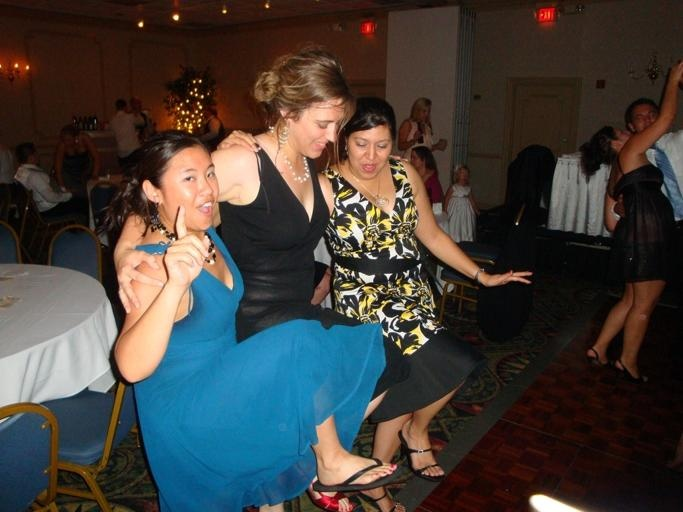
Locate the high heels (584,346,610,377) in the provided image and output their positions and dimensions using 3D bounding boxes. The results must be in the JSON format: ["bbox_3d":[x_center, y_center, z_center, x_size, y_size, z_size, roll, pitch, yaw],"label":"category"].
[{"bbox_3d":[1.950,0.790,3.824,0.256,0.122,0.086,30,-5,-32],"label":"high heels"}]

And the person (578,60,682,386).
[{"bbox_3d":[2.382,-0.352,4.070,0.471,2.196,1.582,6,15,28],"label":"person"}]

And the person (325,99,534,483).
[{"bbox_3d":[0.300,0.206,2.502,0.931,1.852,0.835,-15,17,-30],"label":"person"}]

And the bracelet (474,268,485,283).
[{"bbox_3d":[0.716,0.093,2.589,0.033,0.048,0.051,41,5,4],"label":"bracelet"}]

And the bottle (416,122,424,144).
[{"bbox_3d":[1.109,-1.751,6.988,0.054,0.236,0.221,-5,20,11],"label":"bottle"}]

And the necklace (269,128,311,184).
[{"bbox_3d":[-0.234,-0.449,2.273,0.234,0.072,0.173,46,26,21],"label":"necklace"}]

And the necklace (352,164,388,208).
[{"bbox_3d":[0.142,-0.350,2.499,0.086,0.242,0.026,-36,-7,-16],"label":"necklace"}]

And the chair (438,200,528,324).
[{"bbox_3d":[1.245,0.054,4.432,0.642,1.234,0.663,7,39,13],"label":"chair"}]

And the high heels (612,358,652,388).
[{"bbox_3d":[2.097,0.847,3.674,0.305,0.150,0.106,11,32,38],"label":"high heels"}]
